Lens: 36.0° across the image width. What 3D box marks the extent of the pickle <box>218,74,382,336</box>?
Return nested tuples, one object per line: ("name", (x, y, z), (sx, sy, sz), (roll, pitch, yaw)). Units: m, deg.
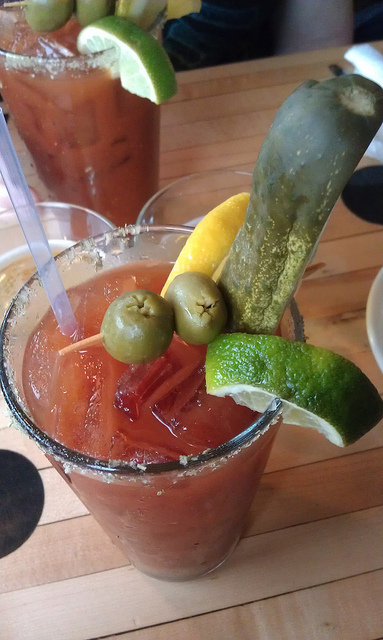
("pickle", (0.080, -0.066, 0.505), (0.083, 0.290, 0.108), (-11, 47, -10))
